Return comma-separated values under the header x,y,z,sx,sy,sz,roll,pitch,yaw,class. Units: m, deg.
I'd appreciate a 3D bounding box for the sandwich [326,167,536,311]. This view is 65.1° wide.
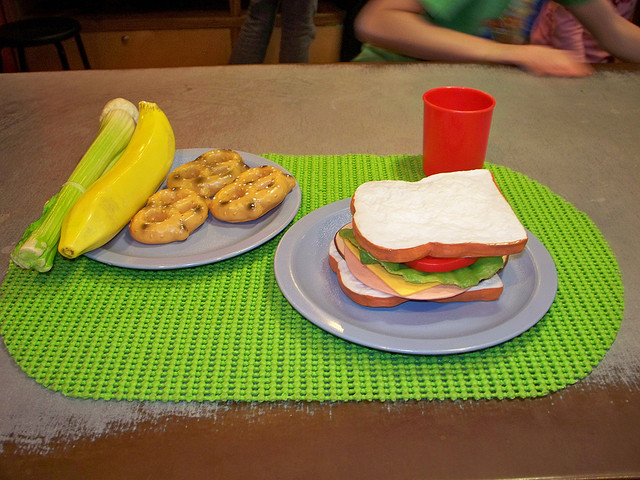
x,y,z,sx,sy,sz,roll,pitch,yaw,class
0.151,-0.001,0.707,0.237,0.075,0.212,-6,39,-5,sandwich

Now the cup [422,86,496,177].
x,y,z,sx,sy,sz,roll,pitch,yaw,class
0.248,-0.197,0.991,0.145,0.187,0.126,-2,37,-1,cup

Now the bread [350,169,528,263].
x,y,z,sx,sy,sz,roll,pitch,yaw,class
0.176,-0.037,0.741,0.222,0.036,0.163,-3,45,12,bread

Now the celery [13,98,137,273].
x,y,z,sx,sy,sz,roll,pitch,yaw,class
-0.414,-0.104,0.887,0.095,0.089,0.343,6,57,14,celery
